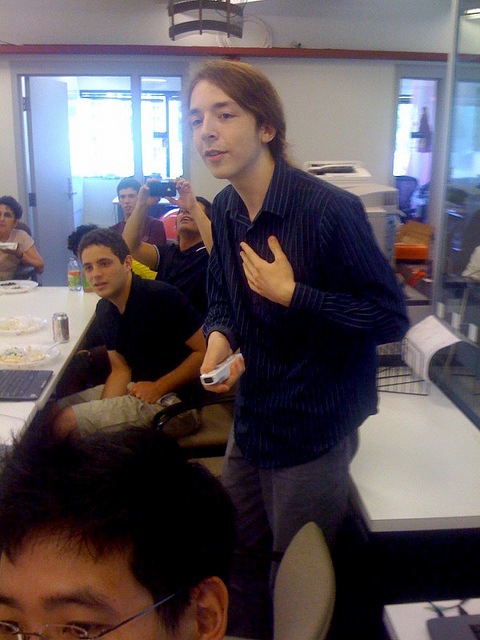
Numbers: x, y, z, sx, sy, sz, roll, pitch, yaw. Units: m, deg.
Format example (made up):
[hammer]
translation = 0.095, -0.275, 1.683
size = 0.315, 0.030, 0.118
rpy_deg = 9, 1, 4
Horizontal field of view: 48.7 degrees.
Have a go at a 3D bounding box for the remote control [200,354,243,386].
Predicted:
[remote control]
translation = -0.040, 0.098, 1.171
size = 0.048, 0.025, 0.093
rpy_deg = -15, 15, 34

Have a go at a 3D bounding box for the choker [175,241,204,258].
[choker]
translation = -0.256, -0.386, 2.919
size = 0.163, 0.097, 0.042
rpy_deg = 14, 18, 41

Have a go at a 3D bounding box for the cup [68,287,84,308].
[cup]
translation = -1.040, -0.139, 3.326
size = 0.116, 0.147, 0.123
rpy_deg = -1, 6, 0
